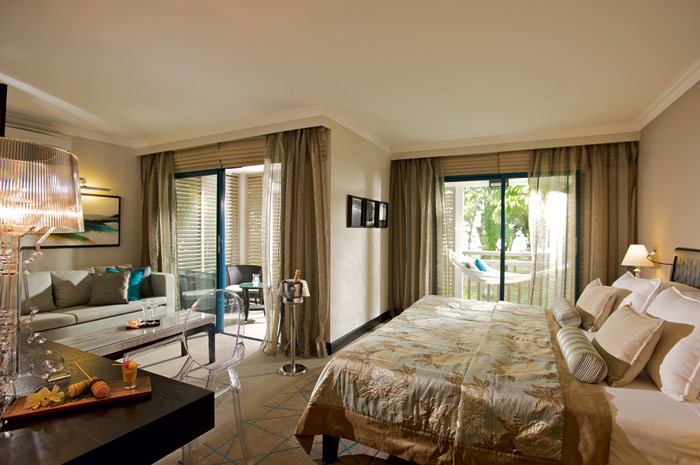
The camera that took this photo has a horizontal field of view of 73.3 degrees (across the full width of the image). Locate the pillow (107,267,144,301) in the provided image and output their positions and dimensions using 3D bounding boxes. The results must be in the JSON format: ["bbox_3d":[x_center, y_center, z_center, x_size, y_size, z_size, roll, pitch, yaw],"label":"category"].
[{"bbox_3d":[-2.753,0.653,5.968,0.422,0.414,0.166,-1,-5,-41],"label":"pillow"}]

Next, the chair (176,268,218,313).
[{"bbox_3d":[-1.975,0.751,6.158,0.594,0.570,0.436,1,0,16],"label":"chair"}]

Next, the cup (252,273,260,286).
[{"bbox_3d":[-1.401,0.711,6.993,0.164,0.188,0.179,-1,-8,0],"label":"cup"}]

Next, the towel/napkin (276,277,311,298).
[{"bbox_3d":[-0.560,0.597,5.050,0.258,0.120,0.253,3,-3,-38],"label":"towel/napkin"}]

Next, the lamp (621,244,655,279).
[{"bbox_3d":[3.295,0.333,5.407,0.374,0.578,0.397,-4,0,33],"label":"lamp"}]

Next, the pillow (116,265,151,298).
[{"bbox_3d":[-2.727,0.633,5.995,0.165,0.387,0.393,-4,-4,32],"label":"pillow"}]

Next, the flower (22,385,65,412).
[{"bbox_3d":[-1.812,0.984,2.774,0.152,0.064,0.147,34,29,29],"label":"flower"}]
